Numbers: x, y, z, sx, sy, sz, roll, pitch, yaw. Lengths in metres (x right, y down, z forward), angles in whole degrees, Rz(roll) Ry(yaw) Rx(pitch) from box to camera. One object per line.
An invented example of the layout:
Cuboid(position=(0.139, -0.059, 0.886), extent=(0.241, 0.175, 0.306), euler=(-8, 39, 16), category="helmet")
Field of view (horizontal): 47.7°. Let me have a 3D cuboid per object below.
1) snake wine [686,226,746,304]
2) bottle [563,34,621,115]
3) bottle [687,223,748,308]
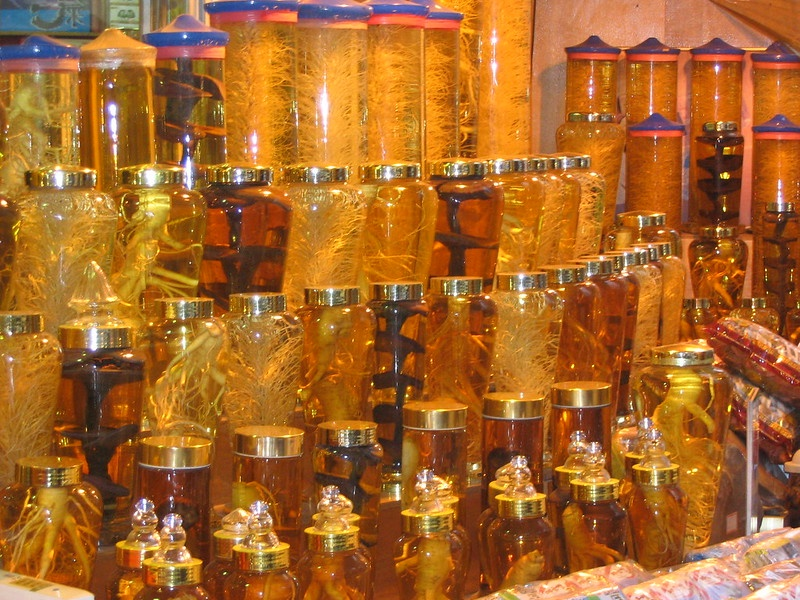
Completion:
Cuboid(position=(0.826, -0.072, 2.367), extent=(0.166, 0.220, 0.169), euler=(3, 7, 45), category="snake wine")
Cuboid(position=(0.533, -0.603, 2.491), extent=(0.175, 0.220, 0.155), euler=(3, 17, 15), category="bottle")
Cuboid(position=(0.818, -0.069, 2.370), extent=(0.184, 0.234, 0.159), euler=(-4, 10, -3), category="bottle")
